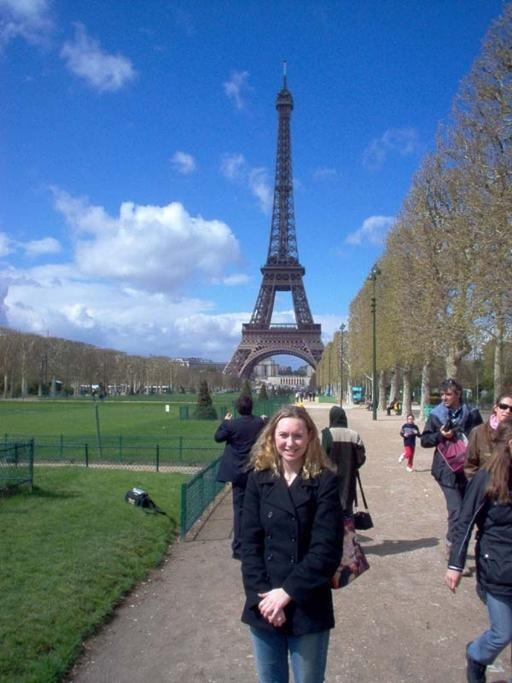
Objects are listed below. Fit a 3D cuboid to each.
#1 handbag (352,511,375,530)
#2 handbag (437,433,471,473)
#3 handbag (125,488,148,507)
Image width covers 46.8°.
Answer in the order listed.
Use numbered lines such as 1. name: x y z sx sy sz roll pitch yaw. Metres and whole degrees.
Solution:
1. handbag: 1.026 1.767 5.763 0.176 0.160 0.217 1 -5 8
2. handbag: 1.856 1.060 5.598 0.244 0.358 0.115 -10 7 -25
3. handbag: -1.861 2.431 9.168 0.296 0.177 0.208 9 -1 45
